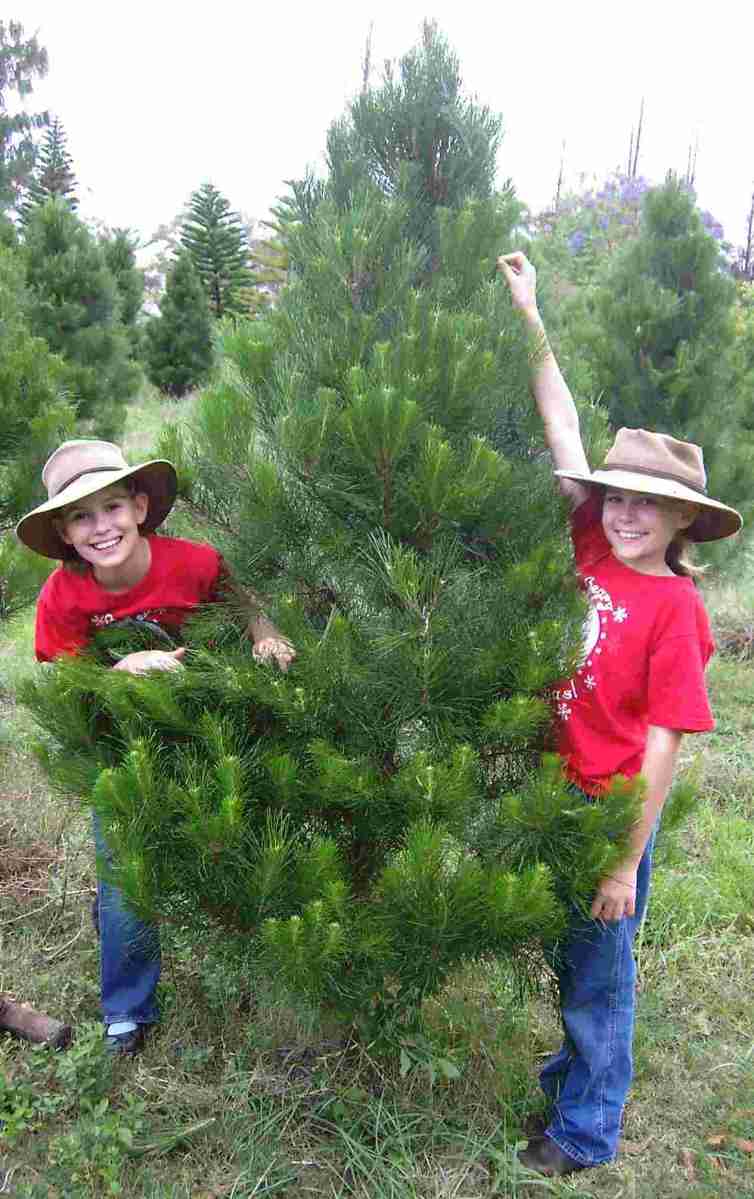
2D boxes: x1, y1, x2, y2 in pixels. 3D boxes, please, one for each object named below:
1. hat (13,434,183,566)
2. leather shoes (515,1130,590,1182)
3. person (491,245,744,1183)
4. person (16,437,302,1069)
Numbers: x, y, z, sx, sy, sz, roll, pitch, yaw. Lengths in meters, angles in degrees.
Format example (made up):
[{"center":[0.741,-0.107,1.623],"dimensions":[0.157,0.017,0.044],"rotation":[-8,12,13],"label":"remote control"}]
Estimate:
[{"center":[-0.704,-0.301,2.371],"dimensions":[0.266,0.266,0.133],"rotation":[-40,10,-35],"label":"hat"},{"center":[0.403,1.314,2.364],"dimensions":[0.084,0.067,0.189],"rotation":[24,-4,-34],"label":"leather shoes"},{"center":[0.540,0.334,2.323],"dimensions":[0.465,2.110,0.548],"rotation":[6,0,-18],"label":"person"},{"center":[-0.636,0.408,2.385],"dimensions":[0.498,1.473,0.770],"rotation":[6,0,-28],"label":"person"}]
